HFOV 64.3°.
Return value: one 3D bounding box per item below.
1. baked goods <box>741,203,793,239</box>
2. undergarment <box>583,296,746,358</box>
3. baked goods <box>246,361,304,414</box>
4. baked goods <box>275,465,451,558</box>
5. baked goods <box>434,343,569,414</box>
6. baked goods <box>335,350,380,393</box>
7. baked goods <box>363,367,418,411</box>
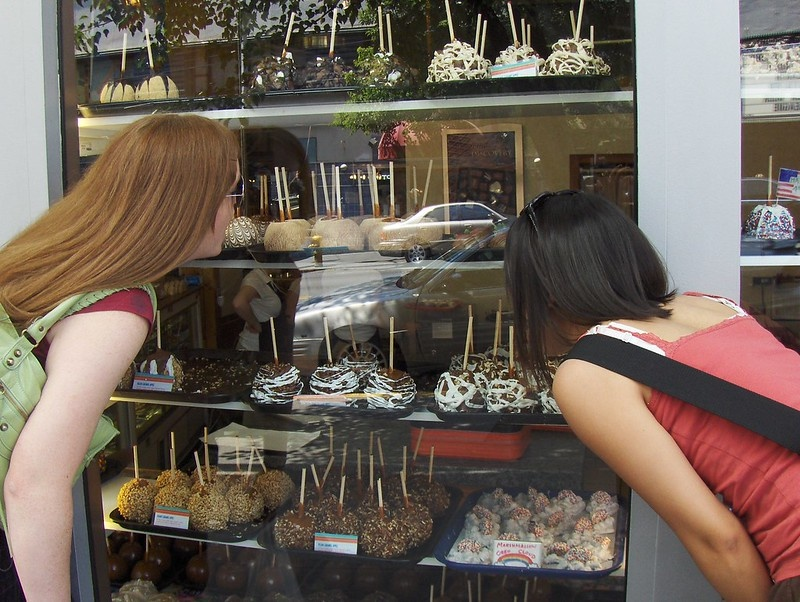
[{"bbox_3d":[0.870,-0.184,1.499,0.099,0.066,0.099,6,11,34],"label":"baked goods"},{"bbox_3d":[0.514,0.046,1.202,0.250,0.073,0.141,-12,-13,-41],"label":"undergarment"},{"bbox_3d":[-0.361,0.238,1.856,0.150,0.097,0.144,-3,16,-9],"label":"baked goods"},{"bbox_3d":[-0.116,0.610,1.835,0.330,0.095,0.283,0,5,21],"label":"baked goods"},{"bbox_3d":[0.246,0.193,1.684,0.242,0.078,0.175,8,17,41],"label":"baked goods"},{"bbox_3d":[-0.119,0.211,1.891,0.113,0.107,0.037,-2,-19,22],"label":"baked goods"},{"bbox_3d":[-0.026,0.249,1.754,0.117,0.077,0.118,5,8,33],"label":"baked goods"}]
